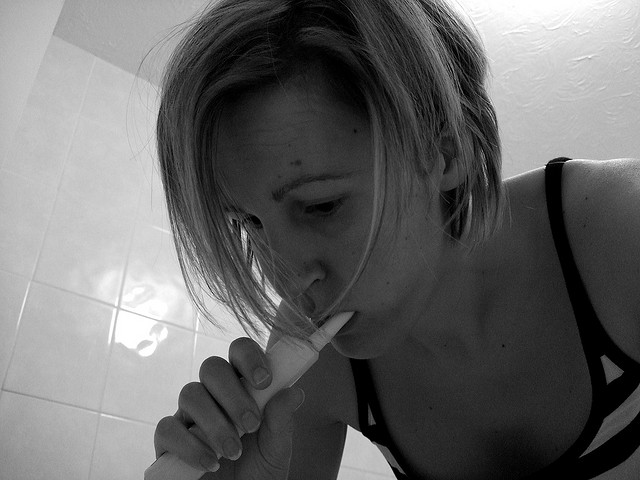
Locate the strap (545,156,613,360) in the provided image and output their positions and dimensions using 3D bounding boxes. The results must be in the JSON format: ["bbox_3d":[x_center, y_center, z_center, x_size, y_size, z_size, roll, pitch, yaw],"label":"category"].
[{"bbox_3d":[0.451,0.044,1.015,0.127,0.292,0.053,-8,-5,-17],"label":"strap"}]
